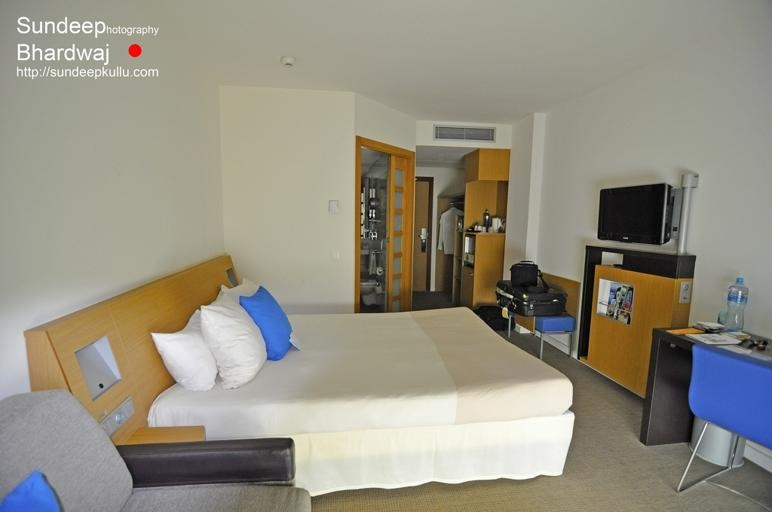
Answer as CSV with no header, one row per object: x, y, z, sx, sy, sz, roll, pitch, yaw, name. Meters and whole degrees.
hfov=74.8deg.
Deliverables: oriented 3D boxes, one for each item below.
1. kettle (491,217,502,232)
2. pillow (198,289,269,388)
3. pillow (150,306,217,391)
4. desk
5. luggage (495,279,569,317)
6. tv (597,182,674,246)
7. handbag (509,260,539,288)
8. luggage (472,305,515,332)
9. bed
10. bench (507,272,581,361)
1.498,-0.406,6.839,0.155,0.183,0.075,2,9,1,kettle
-1.046,0.632,3.920,0.427,0.566,0.848,4,13,13,pillow
-1.424,0.735,3.559,0.121,0.424,0.403,-13,11,34,pillow
2.368,0.972,3.725,0.486,0.925,0.939,2,2,-12,desk
1.611,0.486,5.728,0.580,0.326,0.785,-2,11,-20,luggage
2.285,-0.381,4.595,0.194,0.508,0.591,-3,5,-24,tv
1.513,0.203,5.648,0.277,0.271,0.285,1,4,42,handbag
1.359,0.759,6.367,0.407,0.160,0.412,0,11,-5,luggage
-0.531,0.943,3.868,2.089,0.981,2.361,-1,14,-7,bed
1.820,0.639,5.867,0.356,0.868,0.907,2,6,-8,bench
